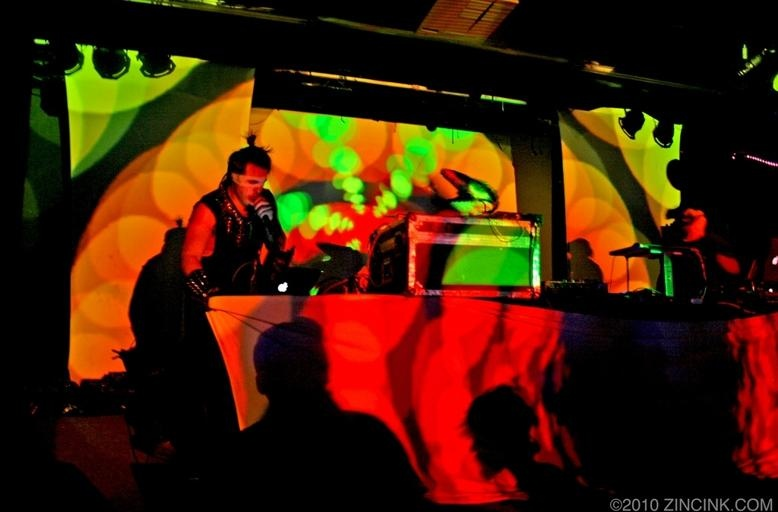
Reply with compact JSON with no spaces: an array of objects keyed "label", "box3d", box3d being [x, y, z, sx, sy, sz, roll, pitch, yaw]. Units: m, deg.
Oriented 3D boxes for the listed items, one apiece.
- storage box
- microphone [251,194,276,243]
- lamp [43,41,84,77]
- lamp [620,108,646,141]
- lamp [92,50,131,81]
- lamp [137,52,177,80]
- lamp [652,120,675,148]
[{"label":"storage box","box3d":[0.591,0.049,7.094,1.528,0.683,1.104,2,-8,-31]},{"label":"microphone","box3d":[-1.417,-0.439,8.286,0.170,0.602,0.188,-5,-33,-22]},{"label":"lamp","box3d":[-3.418,-2.071,7.867,0.416,0.387,0.395,0,-1,13]},{"label":"lamp","box3d":[3.019,-1.705,9.230,0.241,0.300,0.973,2,-4,12]},{"label":"lamp","box3d":[-3.070,-2.116,8.089,0.372,0.294,0.219,4,-4,-21]},{"label":"lamp","box3d":[-2.609,-2.147,8.218,0.386,0.239,0.398,3,-4,-10]},{"label":"lamp","box3d":[3.436,-1.532,9.223,0.309,0.412,0.432,2,13,13]}]
